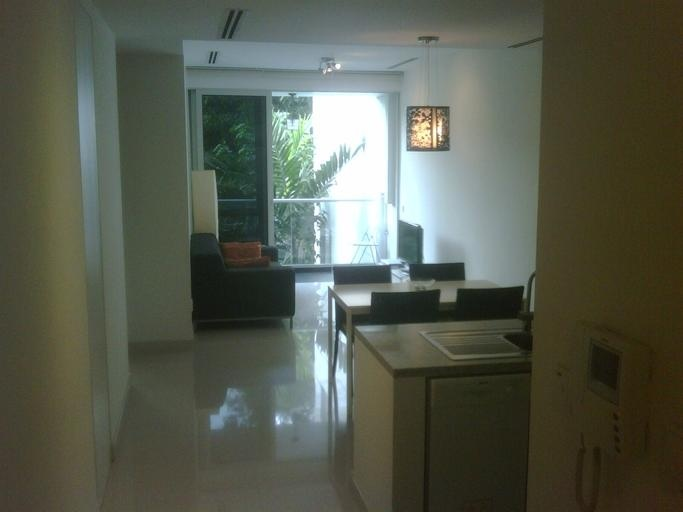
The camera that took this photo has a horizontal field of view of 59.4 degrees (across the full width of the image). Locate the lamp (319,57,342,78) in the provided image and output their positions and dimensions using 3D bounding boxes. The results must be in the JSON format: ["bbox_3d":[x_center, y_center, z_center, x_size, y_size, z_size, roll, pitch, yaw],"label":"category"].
[{"bbox_3d":[-0.133,-2.293,7.266,0.198,0.273,0.269,0,1,18],"label":"lamp"}]

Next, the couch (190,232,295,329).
[{"bbox_3d":[-1.027,0.134,6.092,0.978,0.770,1.416,1,8,-11],"label":"couch"}]

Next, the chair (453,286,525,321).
[{"bbox_3d":[0.874,0.282,3.558,0.248,0.173,0.265,-1,6,-1],"label":"chair"}]
